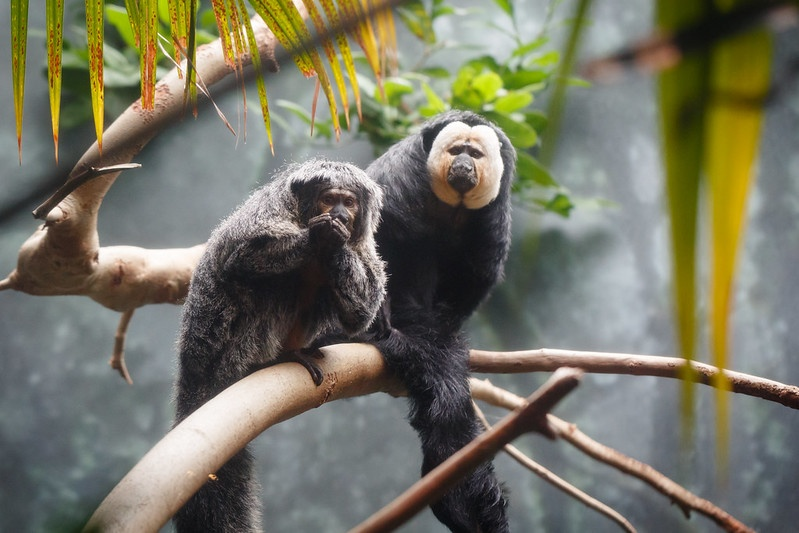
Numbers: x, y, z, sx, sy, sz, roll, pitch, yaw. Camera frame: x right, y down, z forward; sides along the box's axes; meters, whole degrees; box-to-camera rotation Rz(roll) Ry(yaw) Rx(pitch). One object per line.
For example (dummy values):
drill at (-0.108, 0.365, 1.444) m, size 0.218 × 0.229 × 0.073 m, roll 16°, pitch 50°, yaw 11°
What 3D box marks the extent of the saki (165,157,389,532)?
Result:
saki at (-0.318, 0.091, 2.788) m, size 0.525 × 0.784 × 0.239 m, roll 10°, pitch 10°, yaw -5°
